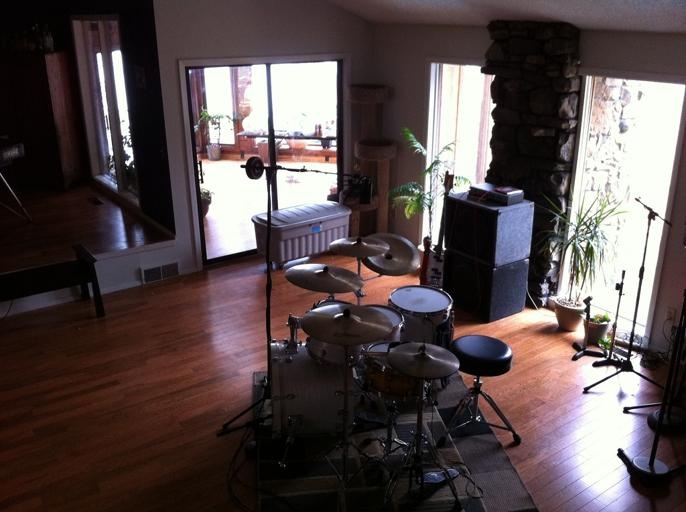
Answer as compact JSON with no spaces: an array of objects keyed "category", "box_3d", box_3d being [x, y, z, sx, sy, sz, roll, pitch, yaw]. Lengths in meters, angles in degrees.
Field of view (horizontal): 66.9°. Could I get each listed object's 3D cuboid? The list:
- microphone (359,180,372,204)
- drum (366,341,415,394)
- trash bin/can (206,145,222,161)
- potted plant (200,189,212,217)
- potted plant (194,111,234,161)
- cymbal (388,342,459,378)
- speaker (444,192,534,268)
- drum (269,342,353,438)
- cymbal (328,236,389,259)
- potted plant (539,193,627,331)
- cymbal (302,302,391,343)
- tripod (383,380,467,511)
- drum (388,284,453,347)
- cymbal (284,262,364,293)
[{"category":"microphone","box_3d":[0.171,-0.513,4.144,0.101,0.219,0.109,-4,18,-11]},{"category":"drum","box_3d":[0.326,0.821,3.982,0.379,0.236,0.379,2,24,-1]},{"category":"trash bin/can","box_3d":[-1.630,-1.307,6.583,0.183,0.189,0.170,-1,22,-11]},{"category":"potted plant","box_3d":[-1.805,-0.705,6.892,0.131,0.404,0.130,-5,19,-14]},{"category":"potted plant","box_3d":[-1.641,-1.532,6.569,0.506,0.649,0.537,3,35,4]},{"category":"cymbal","box_3d":[0.544,0.742,3.605,0.482,0.244,0.416,2,18,5]},{"category":"speaker","box_3d":[1.507,-0.370,5.704,0.762,0.889,0.983,-15,24,-30]},{"category":"drum","box_3d":[-0.269,0.950,4.166,0.574,0.671,0.647,0,29,-6]},{"category":"cymbal","box_3d":[0.140,-0.076,4.590,0.529,0.192,0.320,0,18,-2]},{"category":"potted plant","box_3d":[2.486,0.031,5.322,0.645,1.164,0.783,-15,39,-16]},{"category":"cymbal","box_3d":[0.018,0.434,3.573,0.611,0.201,0.467,0,18,-2]},{"category":"tripod","box_3d":[0.599,1.462,3.916,0.567,0.770,0.612,-8,32,-8]},{"category":"drum","box_3d":[0.732,0.474,4.694,0.507,0.509,0.494,-22,34,-36]},{"category":"cymbal","box_3d":[-0.153,0.169,3.967,0.580,0.150,0.368,3,19,8]}]
